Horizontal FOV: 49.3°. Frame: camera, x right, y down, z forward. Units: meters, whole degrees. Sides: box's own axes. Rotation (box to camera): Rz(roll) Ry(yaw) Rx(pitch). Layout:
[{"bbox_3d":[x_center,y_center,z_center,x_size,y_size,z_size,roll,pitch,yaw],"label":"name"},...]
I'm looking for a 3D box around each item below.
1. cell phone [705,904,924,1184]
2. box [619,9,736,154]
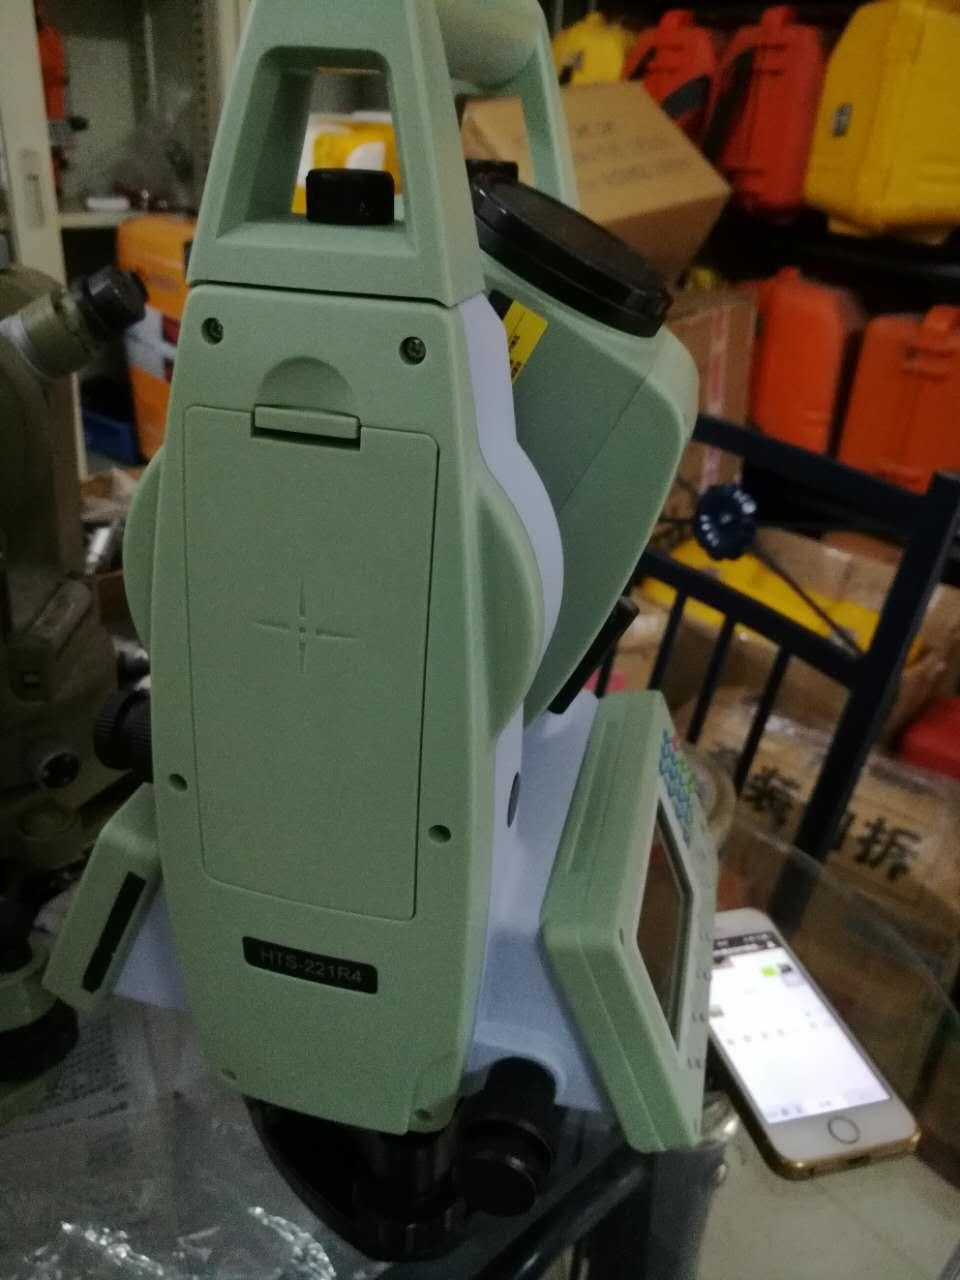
[{"bbox_3d":[0.186,0.246,0.658,0.095,0.019,0.180,-7,27,-12],"label":"cell phone"},{"bbox_3d":[0.332,-1.054,1.889,0.177,0.188,0.096,22,56,9],"label":"box"}]
